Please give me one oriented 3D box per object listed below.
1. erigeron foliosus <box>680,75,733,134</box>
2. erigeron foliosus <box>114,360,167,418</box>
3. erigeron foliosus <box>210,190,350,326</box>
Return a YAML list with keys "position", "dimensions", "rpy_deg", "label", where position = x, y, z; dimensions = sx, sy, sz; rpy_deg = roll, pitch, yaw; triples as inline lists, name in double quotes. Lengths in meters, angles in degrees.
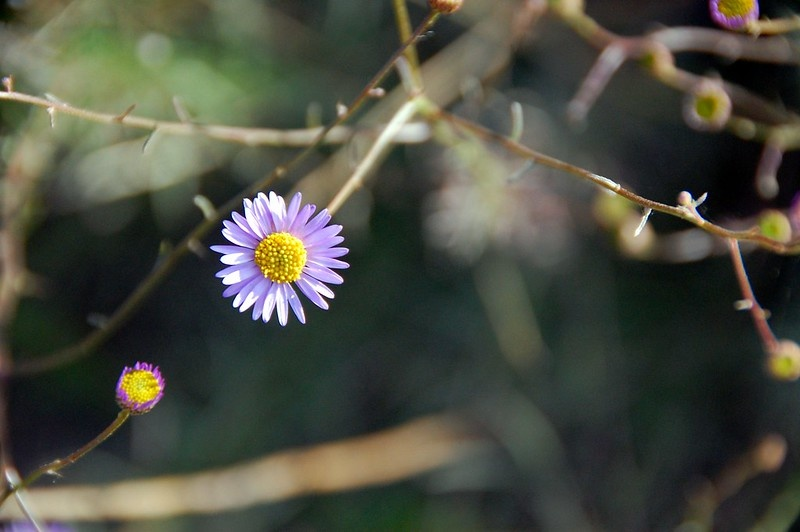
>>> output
- position: [0.945, -0.488, 2.582]
  dimensions: [0.152, 0.055, 0.158]
  rpy_deg: [0, 80, -3]
  label: "erigeron foliosus"
- position: [-0.701, 0.326, 2.317]
  dimensions: [0.126, 0.105, 0.170]
  rpy_deg: [5, 79, -1]
  label: "erigeron foliosus"
- position: [-0.320, -0.015, 2.298]
  dimensions: [0.346, 0.175, 0.346]
  rpy_deg: [22, 80, 1]
  label: "erigeron foliosus"
